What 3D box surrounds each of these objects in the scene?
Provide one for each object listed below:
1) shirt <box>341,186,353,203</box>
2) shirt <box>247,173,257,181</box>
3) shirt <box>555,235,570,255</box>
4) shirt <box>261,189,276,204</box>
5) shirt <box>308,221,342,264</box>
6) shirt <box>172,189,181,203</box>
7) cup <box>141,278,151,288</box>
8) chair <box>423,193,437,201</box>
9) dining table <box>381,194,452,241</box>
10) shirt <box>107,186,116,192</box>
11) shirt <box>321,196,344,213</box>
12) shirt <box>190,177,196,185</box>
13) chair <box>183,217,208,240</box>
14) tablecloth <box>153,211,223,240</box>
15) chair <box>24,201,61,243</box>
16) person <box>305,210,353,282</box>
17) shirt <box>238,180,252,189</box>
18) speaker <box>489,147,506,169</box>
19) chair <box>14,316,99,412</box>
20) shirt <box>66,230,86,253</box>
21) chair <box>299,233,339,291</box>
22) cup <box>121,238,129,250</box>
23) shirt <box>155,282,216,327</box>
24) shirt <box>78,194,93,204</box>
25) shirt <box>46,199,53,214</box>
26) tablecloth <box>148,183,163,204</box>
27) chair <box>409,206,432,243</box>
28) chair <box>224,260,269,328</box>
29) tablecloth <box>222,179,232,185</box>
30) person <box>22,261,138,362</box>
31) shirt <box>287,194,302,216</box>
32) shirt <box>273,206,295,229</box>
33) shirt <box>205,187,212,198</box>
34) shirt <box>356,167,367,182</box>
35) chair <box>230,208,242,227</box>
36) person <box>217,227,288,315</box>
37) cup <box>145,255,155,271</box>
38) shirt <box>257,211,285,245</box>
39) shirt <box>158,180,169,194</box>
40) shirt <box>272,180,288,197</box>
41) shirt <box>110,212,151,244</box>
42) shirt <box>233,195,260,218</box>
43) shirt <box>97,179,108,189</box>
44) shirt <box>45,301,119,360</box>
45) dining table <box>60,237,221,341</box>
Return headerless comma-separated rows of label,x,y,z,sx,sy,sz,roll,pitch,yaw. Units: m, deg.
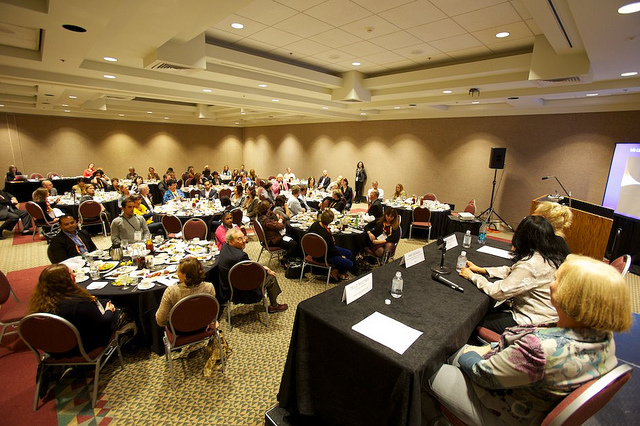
shirt,0.841,-0.560,11.398,0.221,0.569,0.756,2,9,14
shirt,-2.277,-1.200,12.442,0.213,0.229,0.638,-3,9,-17
shirt,3.364,0.433,5.090,0.163,0.225,0.339,6,11,33
shirt,-1.325,-0.434,9.369,0.142,0.420,0.439,-31,-21,28
shirt,0.076,0.557,6.594,0.397,0.697,0.461,14,53,17
shirt,-3.975,-0.470,10.026,0.285,0.410,0.138,14,16,38
cup,-2.475,0.996,5.216,0.108,0.084,0.112,-8,5,1
chair,3.239,-0.523,10.850,0.269,0.306,0.330,-6,-11,41
dining table,2.748,0.249,9.914,1.383,0.764,1.427,2,5,17
shirt,-6.518,-0.753,11.443,0.227,0.112,0.232,11,17,34
shirt,0.311,-0.270,9.573,0.455,0.323,1.457,-1,9,-4
shirt,-4.319,-1.060,12.467,0.194,0.278,0.145,12,30,17
chair,-2.371,0.305,6.991,0.382,0.641,0.407,1,5,-17
tablecloth,-3.036,0.289,8.517,1.466,0.632,0.872,6,11,33
chair,-6.217,0.204,8.236,0.461,0.830,0.563,25,37,11
person,0.252,0.684,6.826,0.878,1.548,0.651,-5,19,-23
shirt,-2.480,-0.960,12.284,0.421,0.236,0.579,-2,7,-12
speaker,4.736,-1.455,9.809,0.355,0.534,0.281,4,10,24
chair,-3.373,1.965,4.745,0.709,1.354,0.889,7,44,-20
shirt,-4.048,0.461,6.151,0.217,0.322,0.237,-1,9,-6
chair,-0.011,0.892,6.697,0.627,1.114,0.724,6,32,15
cup,-3.267,0.522,6.123,0.076,0.120,0.120,8,34,-12
shirt,-1.797,1.235,5.058,0.852,0.705,0.423,-3,26,-29
shirt,-5.773,-0.367,9.031,0.271,0.291,0.289,5,3,-5
shirt,-6.252,-0.111,8.488,0.100,0.243,0.233,-6,11,-32
tablecloth,-5.700,-0.657,12.745,0.595,0.782,0.611,-1,1,-38
chair,2.431,0.272,8.869,0.542,0.903,0.571,6,-1,2
chair,-1.098,1.195,5.440,0.626,0.991,0.700,-7,-11,11
tablecloth,-3.813,-1.274,14.974,0.355,0.278,0.336,-2,8,-10
person,-3.140,1.354,4.869,0.742,1.468,0.900,11,38,5
shirt,-0.617,-0.176,8.773,0.229,0.404,0.428,-13,21,-10
shirt,-0.790,0.102,7.765,0.214,0.292,0.526,26,1,30
shirt,-3.175,-0.556,10.353,0.129,0.250,0.375,-1,9,-4
shirt,1.556,-1.396,13.532,0.505,0.674,0.356,1,2,34
chair,-1.862,0.092,7.951,0.255,0.385,0.269,-6,27,-28
person,-1.094,0.994,6.015,1.072,1.534,0.598,-11,12,-20
cup,-2.574,0.767,5.556,0.186,0.209,0.188,-1,0,0
shirt,-0.962,0.332,7.179,0.506,0.588,0.194,-2,10,-8
shirt,-4.646,-0.767,10.863,0.179,0.343,0.549,-6,11,-29
shirt,-1.315,-0.775,11.854,0.301,0.386,0.881,19,2,10
shirt,-3.476,0.318,6.755,0.663,0.687,0.421,-9,10,-39
shirt,-1.751,-0.152,8.804,0.425,0.422,0.247,28,14,0
shirt,-6.663,-0.878,11.192,0.290,0.148,0.399,4,1,-12
shirt,-3.228,1.588,4.992,0.843,1.092,0.791,2,-7,-31
dining table,-2.878,1.320,5.635,1.681,0.702,1.665,2,14,1
